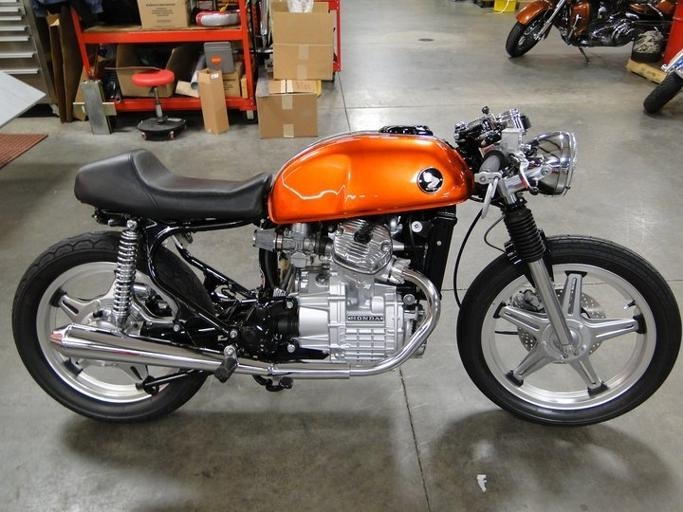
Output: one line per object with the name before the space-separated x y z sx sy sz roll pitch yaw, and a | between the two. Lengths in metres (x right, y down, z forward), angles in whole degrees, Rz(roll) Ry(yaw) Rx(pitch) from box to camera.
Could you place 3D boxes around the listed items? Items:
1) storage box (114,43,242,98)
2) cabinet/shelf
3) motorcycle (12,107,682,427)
storage box | -1.648 -1.780 5.316 0.840 0.376 0.768 -2 45 -2
cabinet/shelf | -1.700 -1.809 5.107 1.480 1.533 0.459 -2 44 0
motorcycle | -0.048 -0.123 2.654 3.226 1.418 1.184 -1 33 2
